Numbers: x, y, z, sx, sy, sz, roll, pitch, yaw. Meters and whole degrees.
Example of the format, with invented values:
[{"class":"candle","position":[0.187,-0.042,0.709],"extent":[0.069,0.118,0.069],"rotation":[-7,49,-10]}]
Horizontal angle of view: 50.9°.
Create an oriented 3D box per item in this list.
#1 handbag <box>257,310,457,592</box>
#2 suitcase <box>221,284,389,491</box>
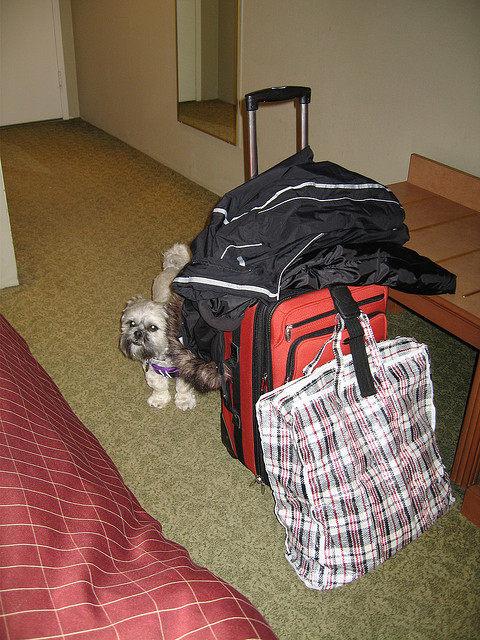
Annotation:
[{"class":"handbag","position":[0.339,0.347,1.482],"extent":[0.637,0.734,0.288],"rotation":[-16,18,-30]},{"class":"suitcase","position":[0.192,0.164,1.369],"extent":[0.417,0.568,0.331],"rotation":[-18,34,-23]}]
